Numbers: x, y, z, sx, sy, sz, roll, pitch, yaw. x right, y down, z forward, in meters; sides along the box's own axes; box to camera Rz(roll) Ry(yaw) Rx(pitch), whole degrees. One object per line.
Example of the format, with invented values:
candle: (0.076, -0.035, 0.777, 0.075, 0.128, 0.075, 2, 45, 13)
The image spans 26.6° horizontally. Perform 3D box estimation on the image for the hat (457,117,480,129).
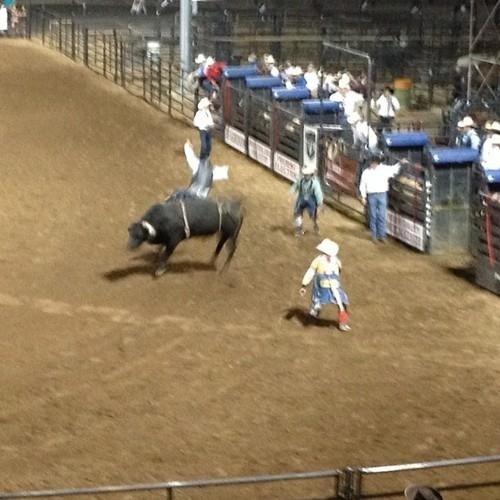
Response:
hat: (5.551, -3.208, 26.760, 0.489, 0.138, 0.568, -6, 32, -4)

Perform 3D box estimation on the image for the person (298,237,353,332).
person: (1.350, 0.546, 18.108, 0.846, 1.518, 0.755, 15, 24, 42)

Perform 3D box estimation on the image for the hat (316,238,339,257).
hat: (1.308, 0.002, 17.891, 0.303, 0.317, 0.429, 3, 13, 0)
